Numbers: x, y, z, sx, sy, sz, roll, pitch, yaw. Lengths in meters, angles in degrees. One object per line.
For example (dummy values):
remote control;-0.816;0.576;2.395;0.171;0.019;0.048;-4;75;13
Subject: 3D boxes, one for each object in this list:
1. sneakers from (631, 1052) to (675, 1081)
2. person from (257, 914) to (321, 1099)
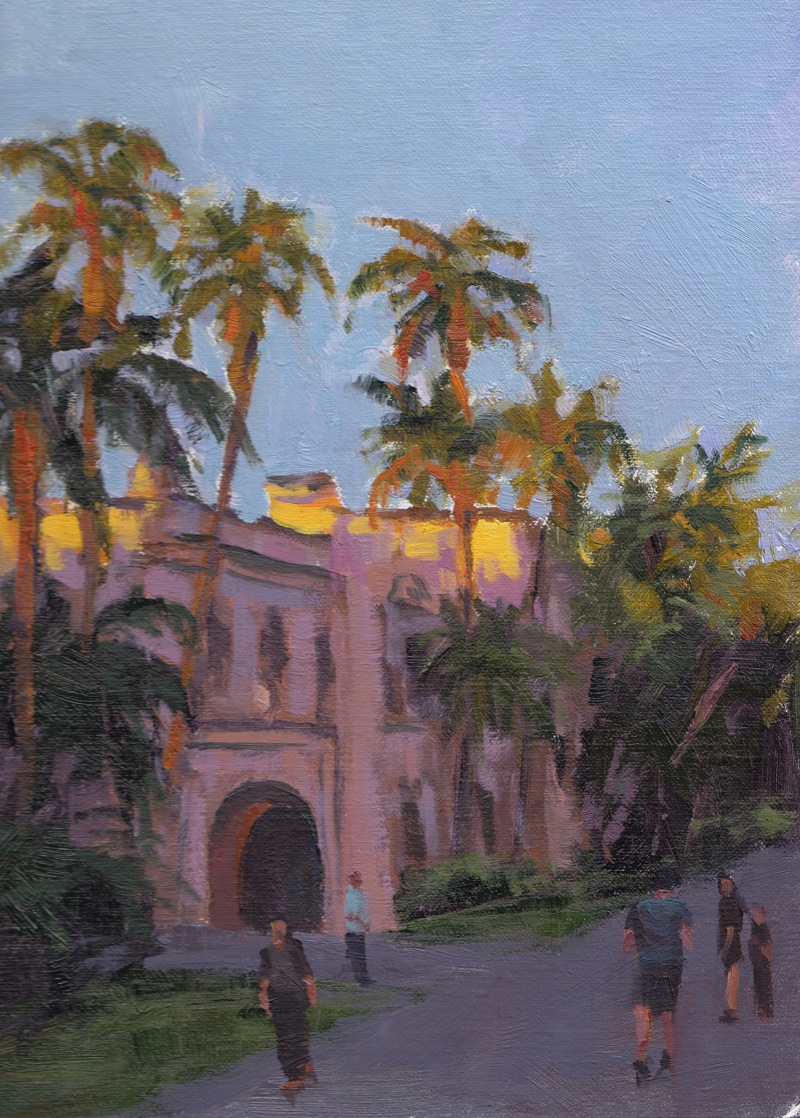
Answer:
sneakers;1.846;3.684;15.227;0.362;0.219;0.120;-2;-4;-44
person;-0.777;3.311;15.073;0.367;1.109;0.147;-3;-10;-6
